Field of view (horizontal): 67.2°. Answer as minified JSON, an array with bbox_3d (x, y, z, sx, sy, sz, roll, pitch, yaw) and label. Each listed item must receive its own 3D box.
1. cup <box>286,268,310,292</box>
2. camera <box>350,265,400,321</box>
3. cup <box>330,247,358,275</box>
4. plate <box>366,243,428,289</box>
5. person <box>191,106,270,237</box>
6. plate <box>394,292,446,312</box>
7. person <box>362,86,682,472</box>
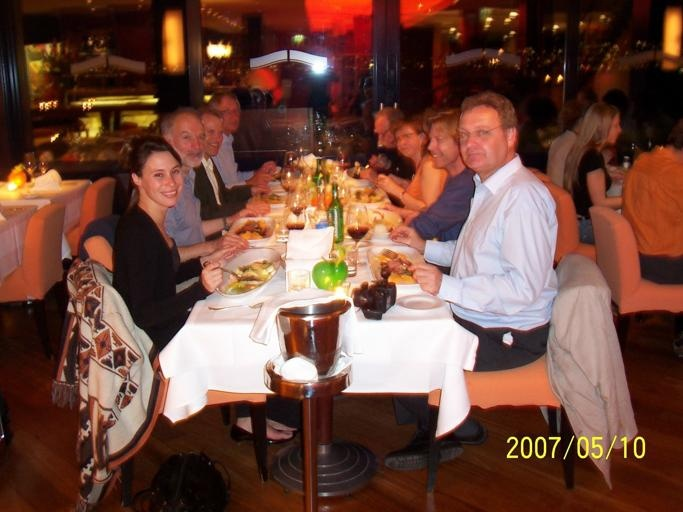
[{"bbox_3d":[-0.164,0.083,1.901,0.074,0.067,0.081,1,12,0],"label":"cup"},{"bbox_3d":[0.126,0.137,1.963,0.155,0.147,0.153,3,18,11],"label":"camera"},{"bbox_3d":[0.017,0.006,2.261,0.112,0.123,0.128,-15,26,-31],"label":"cup"},{"bbox_3d":[0.239,0.025,2.396,0.166,0.033,0.311,-1,21,-3],"label":"plate"},{"bbox_3d":[-0.927,-0.482,3.933,0.556,1.031,0.481,-3,4,-17],"label":"person"},{"bbox_3d":[0.302,0.176,2.028,0.181,0.015,0.159,-7,17,-14],"label":"plate"},{"bbox_3d":[0.848,0.131,2.321,0.856,1.700,0.754,2,18,15],"label":"person"}]
